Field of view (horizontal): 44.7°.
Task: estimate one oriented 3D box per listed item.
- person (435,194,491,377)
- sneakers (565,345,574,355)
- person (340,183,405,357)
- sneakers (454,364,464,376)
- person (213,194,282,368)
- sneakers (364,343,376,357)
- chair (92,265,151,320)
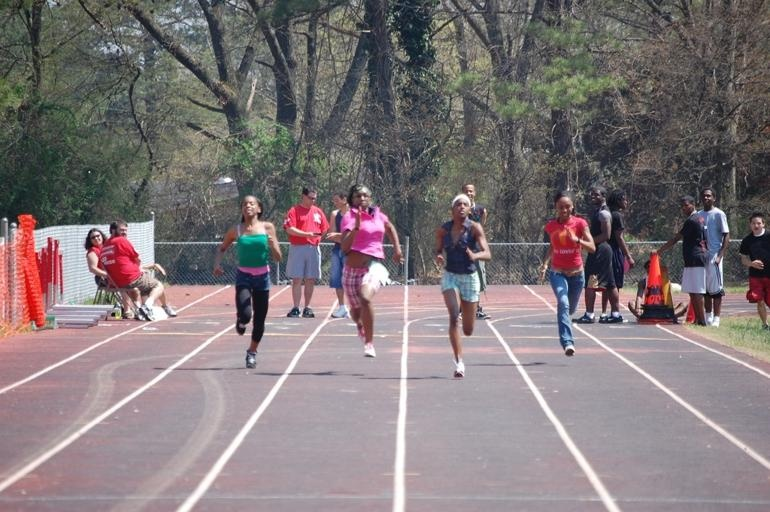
[{"bbox_3d":[1.163,0.458,14.220,0.782,2.771,0.957,0,9,2],"label":"person"},{"bbox_3d":[2.916,1.509,14.796,0.131,0.211,0.254,2,9,11],"label":"sneakers"},{"bbox_3d":[-0.248,0.308,14.982,0.895,2.889,1.152,0,9,1],"label":"person"},{"bbox_3d":[1.118,1.734,14.111,0.174,0.186,0.117,3,2,21],"label":"sneakers"},{"bbox_3d":[-2.117,0.414,14.756,0.952,2.702,1.063,-1,9,-9],"label":"person"},{"bbox_3d":[-0.233,1.521,14.911,0.129,0.161,0.325,1,-9,-3],"label":"sneakers"},{"bbox_3d":[-5.619,0.680,19.812,1.218,1.742,1.007,0,1,3],"label":"chair"}]
